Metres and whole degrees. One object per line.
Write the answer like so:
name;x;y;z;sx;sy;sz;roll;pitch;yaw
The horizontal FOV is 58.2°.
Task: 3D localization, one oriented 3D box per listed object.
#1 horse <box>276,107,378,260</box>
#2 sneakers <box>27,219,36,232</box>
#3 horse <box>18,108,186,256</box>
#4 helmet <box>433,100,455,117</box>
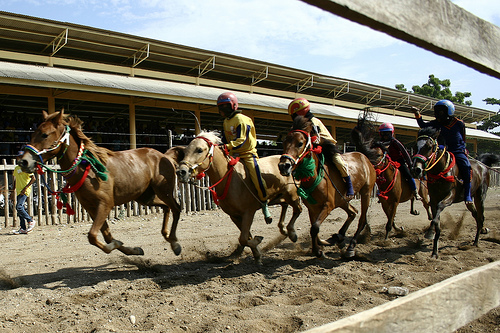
horse;1.463;0.561;9.172;1.466;2.623;4.289;0;-6;30
sneakers;-5.430;1.448;11.129;0.141;0.294;0.158;17;-2;25
horse;-2.579;0.403;8.117;2.658;2.506;0.818;-3;1;-45
helmet;4.186;-1.250;9.691;0.386;0.378;0.581;-2;1;20
